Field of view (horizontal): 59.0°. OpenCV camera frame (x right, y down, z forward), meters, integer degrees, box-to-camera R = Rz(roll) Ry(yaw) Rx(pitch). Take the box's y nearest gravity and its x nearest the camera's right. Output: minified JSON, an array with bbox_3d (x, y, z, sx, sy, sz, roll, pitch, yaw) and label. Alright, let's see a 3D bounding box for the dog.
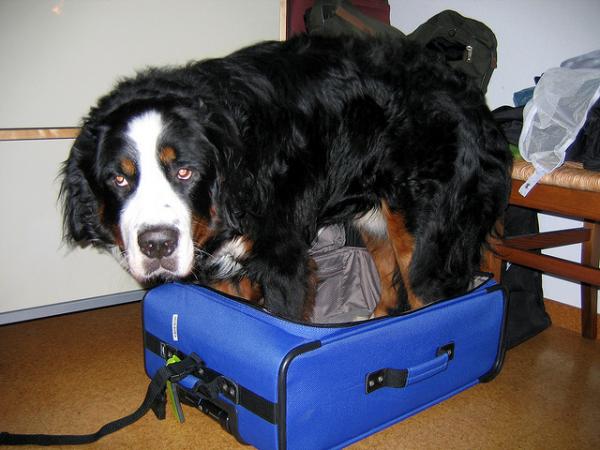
[{"bbox_3d":[0.014,-0.107,2.385,1.817,1.296,0.720,-5,15,-11],"label":"dog"}]
